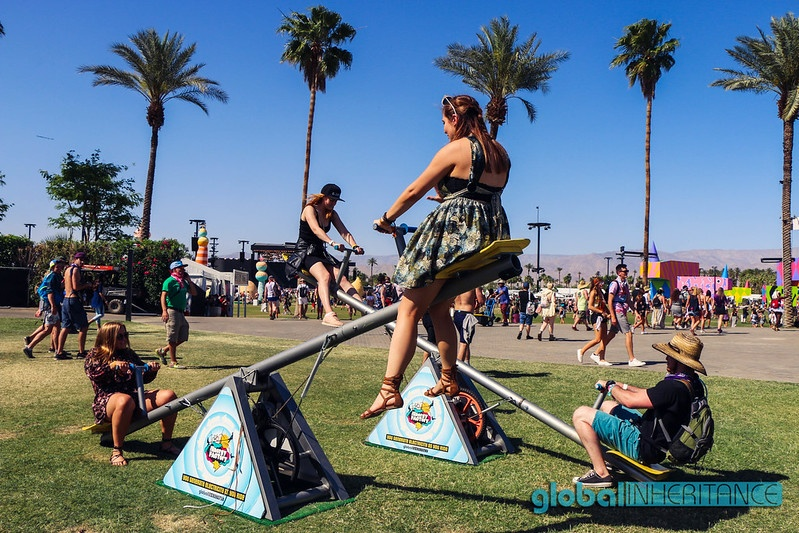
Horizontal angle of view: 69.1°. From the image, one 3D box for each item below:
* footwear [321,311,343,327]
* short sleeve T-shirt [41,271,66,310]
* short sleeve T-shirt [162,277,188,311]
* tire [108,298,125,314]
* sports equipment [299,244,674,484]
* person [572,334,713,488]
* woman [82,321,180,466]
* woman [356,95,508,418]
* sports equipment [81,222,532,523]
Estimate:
[{"bbox_3d":[-0.887,0.705,7.804,0.186,0.221,0.536,2,-5,-35],"label":"footwear"},{"bbox_3d":[-8.055,0.566,13.515,0.602,0.655,0.508,0,-2,41],"label":"short sleeve T-shirt"},{"bbox_3d":[-4.787,0.551,12.524,0.401,0.710,0.756,7,4,28],"label":"short sleeve T-shirt"},{"bbox_3d":[-15.220,2.105,31.222,0.799,0.780,0.300,-4,-3,22],"label":"tire"},{"bbox_3d":[0.681,0.954,7.180,4.973,0.734,1.662,17,20,41],"label":"sports equipment"},{"bbox_3d":[2.776,1.627,6.516,1.483,1.666,0.990,2,-4,45],"label":"person"},{"bbox_3d":[-3.382,1.550,7.404,1.120,1.650,1.045,0,-7,-29],"label":"woman"},{"bbox_3d":[0.412,-0.099,5.503,1.226,3.108,0.824,1,-2,10],"label":"woman"},{"bbox_3d":[-1.368,1.224,6.511,5.261,2.777,1.184,0,-8,26],"label":"sports equipment"}]
